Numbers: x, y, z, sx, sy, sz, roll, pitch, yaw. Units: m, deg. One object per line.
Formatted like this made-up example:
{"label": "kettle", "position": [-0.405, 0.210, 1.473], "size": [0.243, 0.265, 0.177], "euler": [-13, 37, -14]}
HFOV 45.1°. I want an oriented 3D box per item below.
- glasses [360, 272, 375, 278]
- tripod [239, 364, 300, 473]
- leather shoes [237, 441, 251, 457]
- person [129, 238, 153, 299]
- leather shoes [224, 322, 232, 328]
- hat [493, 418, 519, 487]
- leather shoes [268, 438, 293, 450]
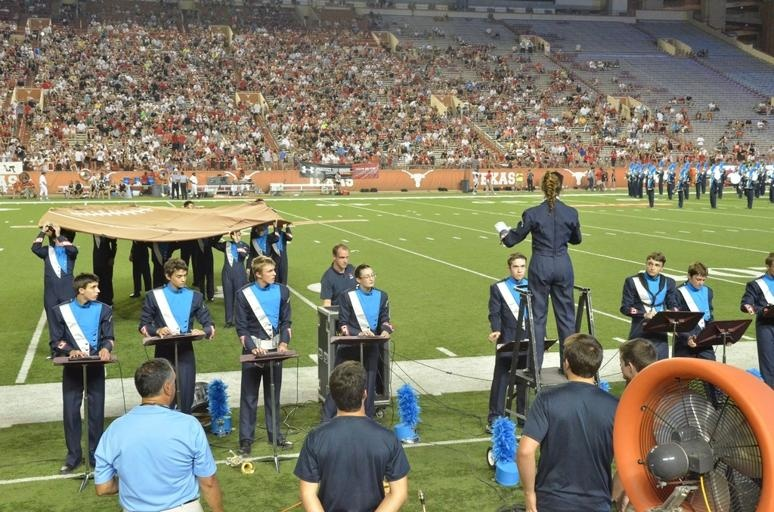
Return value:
{"label": "glasses", "position": [-0.338, 0.347, 17.229], "size": [0.273, 0.127, 0.150], "euler": [-2, 3, -30]}
{"label": "tripod", "position": [-2.399, 2.635, 16.846], "size": [1.397, 1.952, 1.428], "euler": [-1, 8, -14]}
{"label": "leather shoes", "position": [-2.512, 3.384, 16.444], "size": [0.242, 0.277, 0.224], "euler": [-1, 2, -10]}
{"label": "person", "position": [-6.217, 0.128, 23.453], "size": [0.665, 2.171, 0.617], "euler": [1, 42, -9]}
{"label": "leather shoes", "position": [-3.648, 1.583, 21.388], "size": [0.197, 0.135, 0.140], "euler": [-1, 2, -1]}
{"label": "hat", "position": [2.002, 3.309, 15.684], "size": [0.443, 1.198, 0.394], "euler": [-1, 2, 6]}
{"label": "leather shoes", "position": [-1.900, 3.340, 16.480], "size": [0.419, 0.189, 0.174], "euler": [0, 3, -6]}
